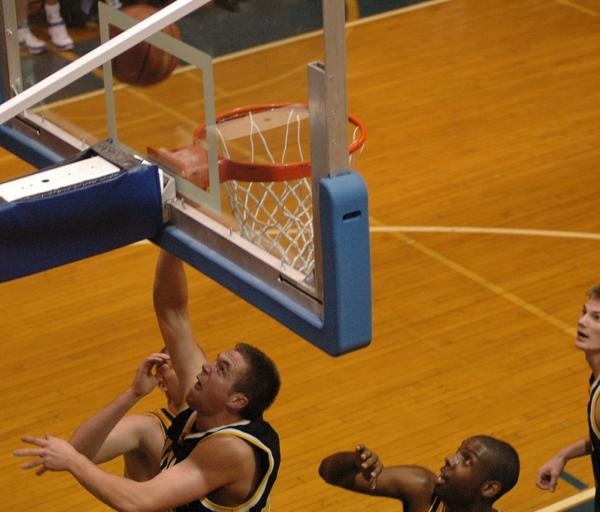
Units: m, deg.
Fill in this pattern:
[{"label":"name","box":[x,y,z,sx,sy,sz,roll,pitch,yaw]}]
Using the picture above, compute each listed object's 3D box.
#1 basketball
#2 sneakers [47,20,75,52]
[{"label":"basketball","box":[-0.499,-0.642,3.368,0.271,0.265,0.254,5,11,-7]},{"label":"sneakers","box":[-0.846,-0.780,3.704,0.055,0.070,0.150,-28,64,-15]}]
